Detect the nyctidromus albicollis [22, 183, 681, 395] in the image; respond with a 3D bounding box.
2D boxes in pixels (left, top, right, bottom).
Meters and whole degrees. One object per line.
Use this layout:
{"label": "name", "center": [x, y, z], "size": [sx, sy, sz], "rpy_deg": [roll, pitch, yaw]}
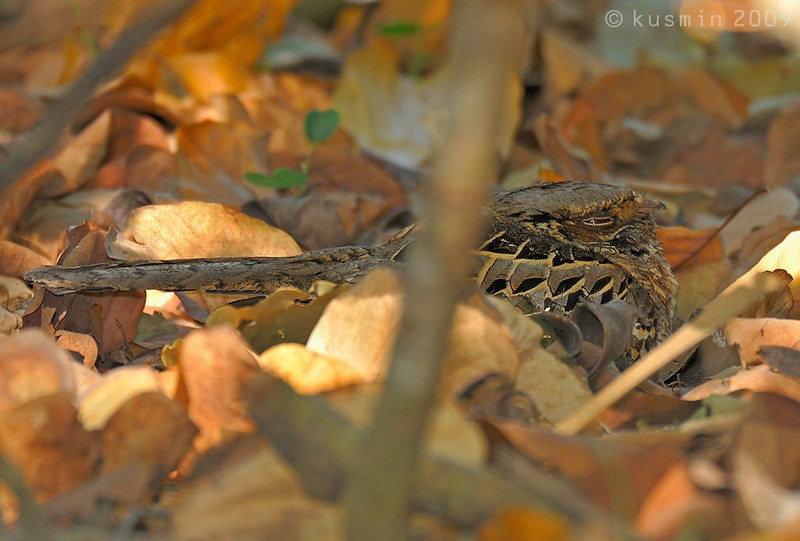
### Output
{"label": "nyctidromus albicollis", "center": [-0.291, 0.031, 2.271], "size": [0.450, 1.196, 0.411], "rpy_deg": [17, 89, -9]}
